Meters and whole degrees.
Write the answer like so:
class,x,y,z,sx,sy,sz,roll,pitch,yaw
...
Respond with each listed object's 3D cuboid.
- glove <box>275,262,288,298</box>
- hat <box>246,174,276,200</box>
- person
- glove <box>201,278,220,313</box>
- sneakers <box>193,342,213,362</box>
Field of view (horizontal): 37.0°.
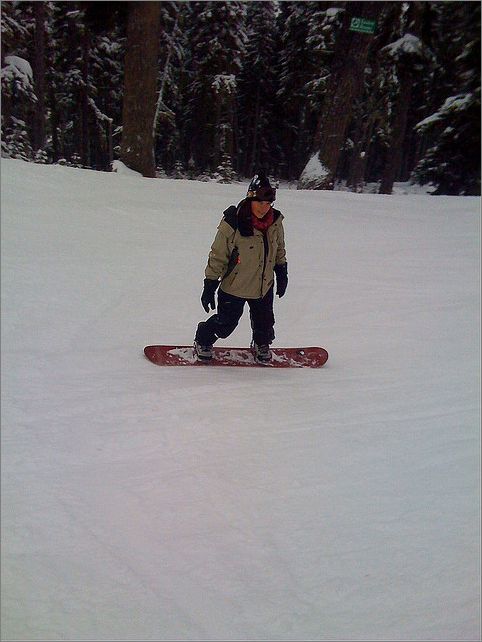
class,x,y,z,sx,sy,sz,roll,pitch,yaw
glove,0.349,-0.353,6.088,0.099,0.320,0.088,7,-30,-2
hat,0.158,-1.014,5.475,0.199,0.217,0.270,5,9,0
person,-0.017,-0.399,5.750,0.622,1.538,0.568,7,10,7
glove,-0.246,-0.194,5.752,0.118,0.299,0.324,5,10,-2
sneakers,-0.309,0.264,5.901,0.086,0.099,0.237,1,15,-16
